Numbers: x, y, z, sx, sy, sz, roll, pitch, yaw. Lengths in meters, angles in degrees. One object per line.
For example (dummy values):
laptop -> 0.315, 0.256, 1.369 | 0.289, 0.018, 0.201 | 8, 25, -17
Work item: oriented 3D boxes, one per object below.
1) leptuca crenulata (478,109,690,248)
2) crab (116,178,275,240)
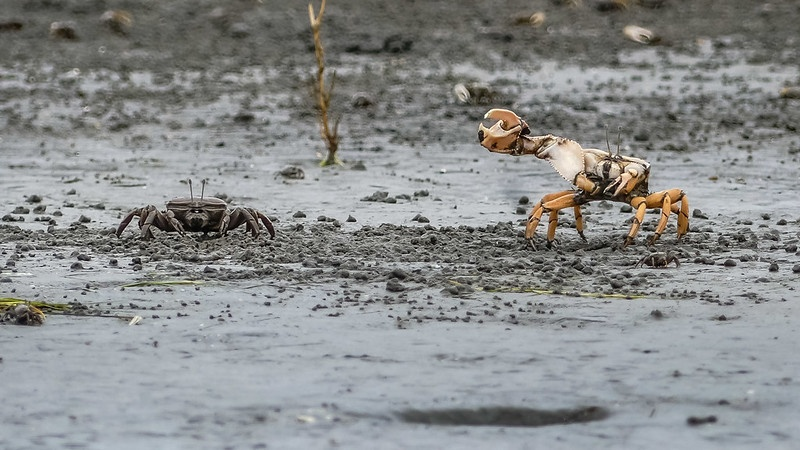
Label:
leptuca crenulata -> 4.015, -0.948, 20.160 | 3.465, 2.089, 4.082 | -5, -7, 41
crab -> -4.314, 0.032, 20.909 | 3.279, 0.821, 1.524 | 0, -5, -6
